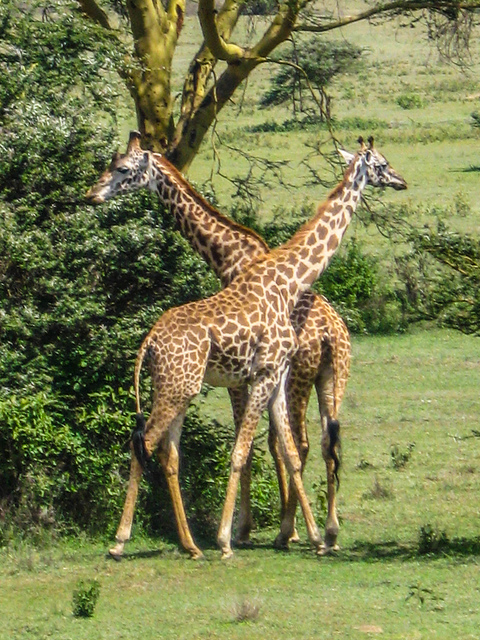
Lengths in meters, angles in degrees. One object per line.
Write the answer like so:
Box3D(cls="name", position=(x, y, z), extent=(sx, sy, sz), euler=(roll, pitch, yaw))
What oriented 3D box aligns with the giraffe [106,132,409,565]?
Box3D(cls="giraffe", position=(0.180, 0.341, 11.357), extent=(3.120, 4.752, 2.768), euler=(0, 2, 12))
